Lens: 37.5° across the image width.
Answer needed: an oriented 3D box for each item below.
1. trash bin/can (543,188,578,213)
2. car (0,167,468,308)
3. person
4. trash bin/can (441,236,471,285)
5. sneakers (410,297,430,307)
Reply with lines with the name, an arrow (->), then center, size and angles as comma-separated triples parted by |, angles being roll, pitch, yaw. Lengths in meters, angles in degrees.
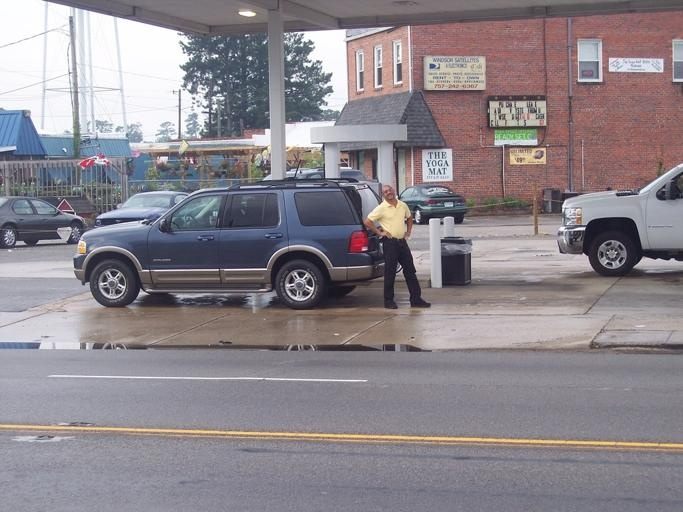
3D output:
trash bin/can -> 9.254, -2.432, 44.229 | 2.049, 1.002, 1.399 | -1, 2, -42
car -> -1.574, -0.427, 18.570 | 5.914, 1.884, 2.587 | 1, 2, 13
person -> 0.949, -0.173, 17.390 | 1.015, 2.121, 0.541 | -4, 9, 1
trash bin/can -> 2.260, 0.080, 20.114 | 0.944, 0.968, 0.880 | -1, 0, -12
sneakers -> 1.373, 0.810, 17.513 | 0.357, 0.132, 0.141 | -3, -2, 10
